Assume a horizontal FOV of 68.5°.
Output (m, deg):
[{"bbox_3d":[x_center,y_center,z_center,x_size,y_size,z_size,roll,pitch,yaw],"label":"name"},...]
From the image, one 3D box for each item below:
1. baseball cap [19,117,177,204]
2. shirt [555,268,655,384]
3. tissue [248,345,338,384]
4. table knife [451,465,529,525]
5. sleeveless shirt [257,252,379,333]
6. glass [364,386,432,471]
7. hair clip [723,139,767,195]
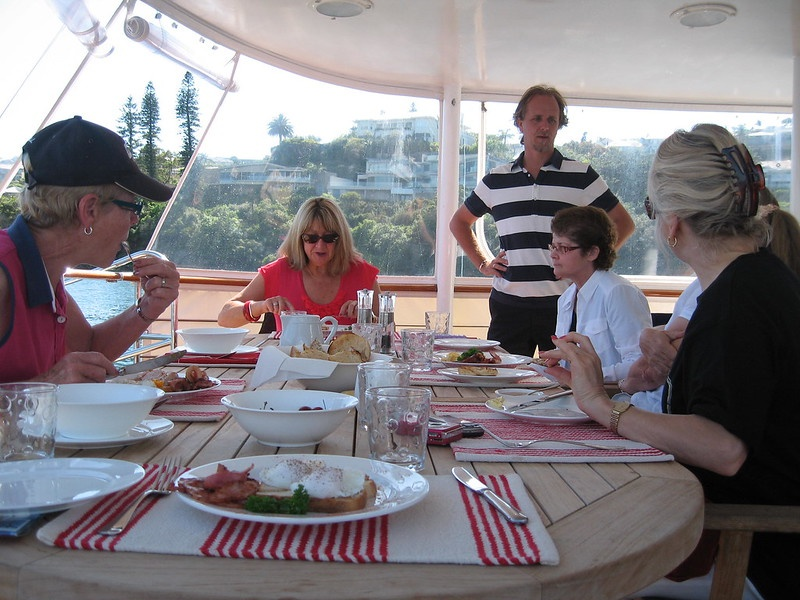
[{"bbox_3d":[-0.796,-0.364,1.516,0.294,0.138,0.177,-3,15,-31],"label":"baseball cap"},{"bbox_3d":[0.779,0.100,2.269,0.273,0.426,0.464,3,-8,-10],"label":"shirt"},{"bbox_3d":[-0.257,0.137,1.358,0.112,0.060,0.145,2,0,4],"label":"tissue"},{"bbox_3d":[0.127,0.288,0.880,0.030,0.008,0.163,-2,3,-12],"label":"table knife"},{"bbox_3d":[-0.426,-0.074,3.399,0.818,0.663,0.406,0,0,-7],"label":"sleeveless shirt"},{"bbox_3d":[-0.005,0.228,1.045,0.128,0.125,0.123,1,-13,-12],"label":"glass"},{"bbox_3d":[0.759,-0.299,1.307,0.049,0.107,0.084,-20,-8,2],"label":"hair clip"}]
